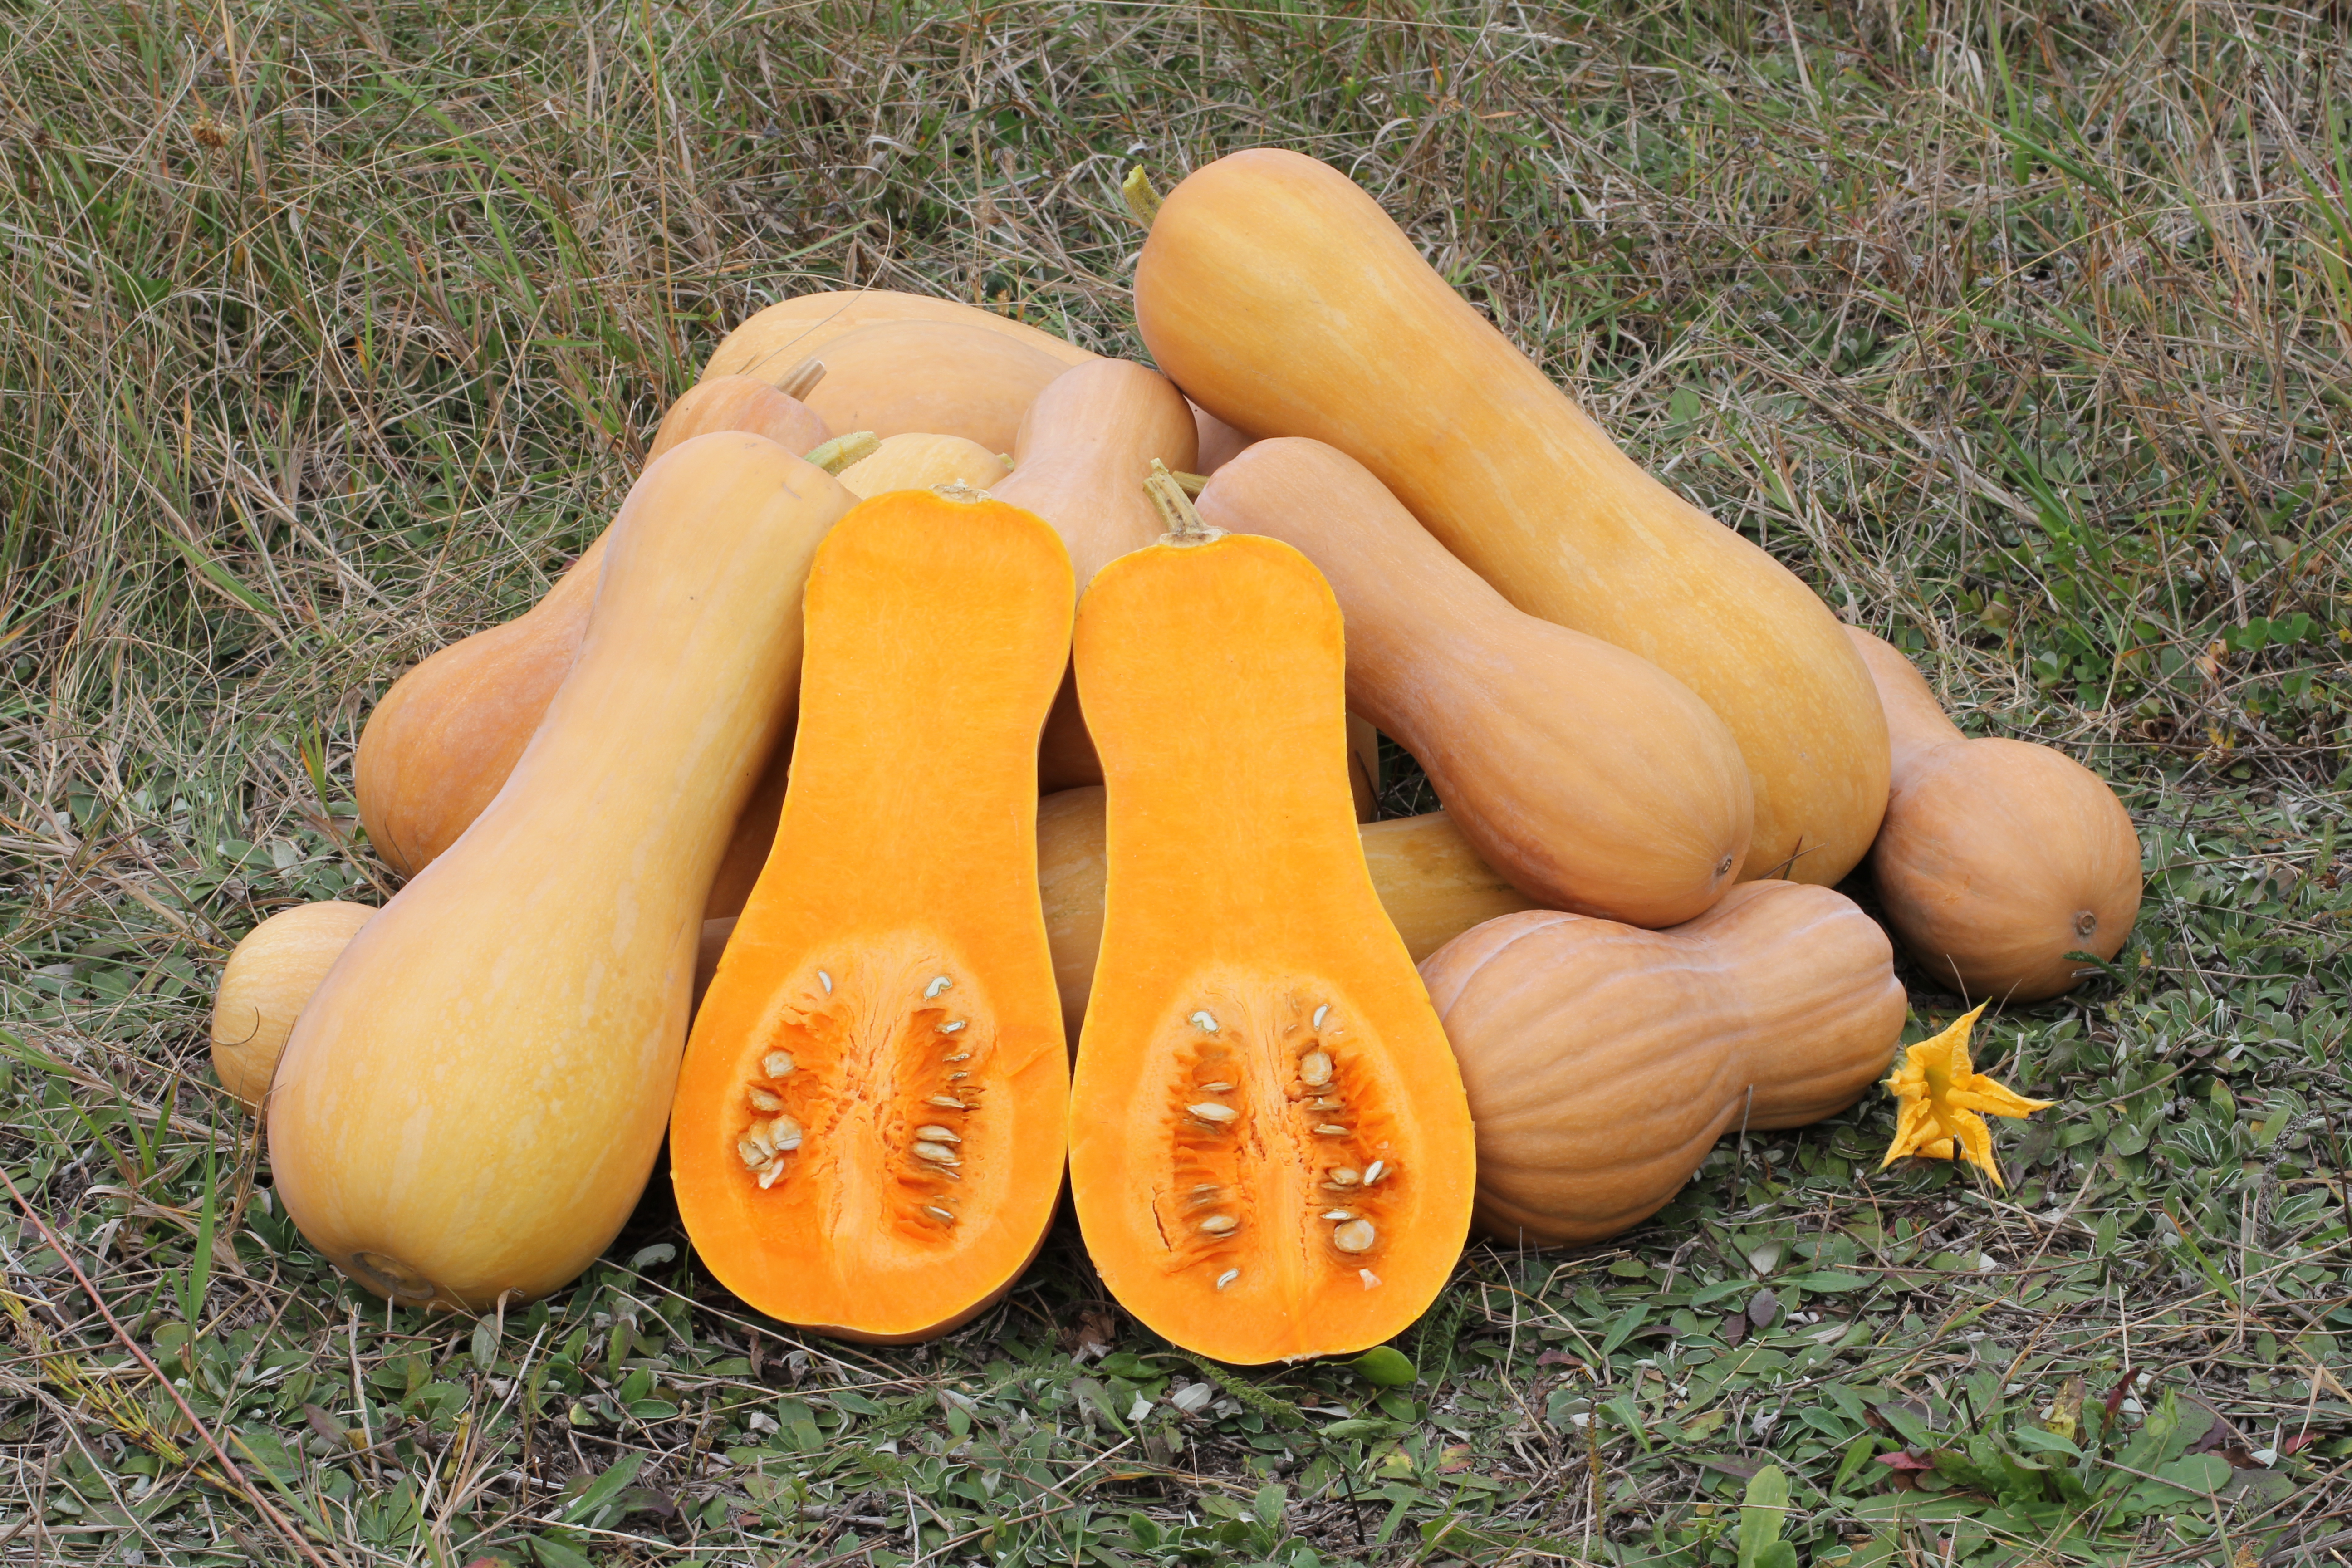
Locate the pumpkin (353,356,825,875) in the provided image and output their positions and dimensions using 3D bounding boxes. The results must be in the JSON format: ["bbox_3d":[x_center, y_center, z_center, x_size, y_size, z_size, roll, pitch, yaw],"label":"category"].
[{"bbox_3d":[-0.941,-0.161,3.555,1.037,0.474,0.477,-37,24,39],"label":"pumpkin"}]

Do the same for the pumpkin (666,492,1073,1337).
[{"bbox_3d":[-0.396,0.173,3.190,0.490,0.269,1.123,9,79,3],"label":"pumpkin"}]

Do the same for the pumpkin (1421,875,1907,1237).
[{"bbox_3d":[0.684,0.329,3.367,0.677,0.429,0.345,-30,13,-19],"label":"pumpkin"}]

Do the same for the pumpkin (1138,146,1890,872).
[{"bbox_3d":[0.449,-0.271,4.087,0.500,1.814,0.535,-18,50,-34],"label":"pumpkin"}]

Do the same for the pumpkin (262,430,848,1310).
[{"bbox_3d":[-0.887,0.110,3.366,0.511,0.485,1.406,23,80,-14],"label":"pumpkin"}]

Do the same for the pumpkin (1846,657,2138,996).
[{"bbox_3d":[1.291,0.104,3.631,0.252,0.250,0.591,-25,58,-2],"label":"pumpkin"}]

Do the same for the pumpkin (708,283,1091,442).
[{"bbox_3d":[-0.522,-0.763,4.063,0.586,0.283,0.273,19,69,14],"label":"pumpkin"}]
